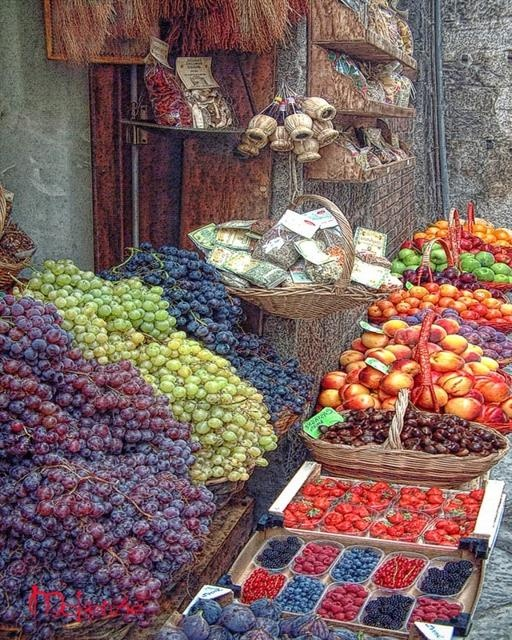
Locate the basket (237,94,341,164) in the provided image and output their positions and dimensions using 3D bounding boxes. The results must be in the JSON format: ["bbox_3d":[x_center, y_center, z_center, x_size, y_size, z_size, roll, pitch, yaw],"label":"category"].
[{"bbox_3d":[0.132,-0.867,2.684,0.454,0.292,0.210,-2,15,6],"label":"basket"}]
